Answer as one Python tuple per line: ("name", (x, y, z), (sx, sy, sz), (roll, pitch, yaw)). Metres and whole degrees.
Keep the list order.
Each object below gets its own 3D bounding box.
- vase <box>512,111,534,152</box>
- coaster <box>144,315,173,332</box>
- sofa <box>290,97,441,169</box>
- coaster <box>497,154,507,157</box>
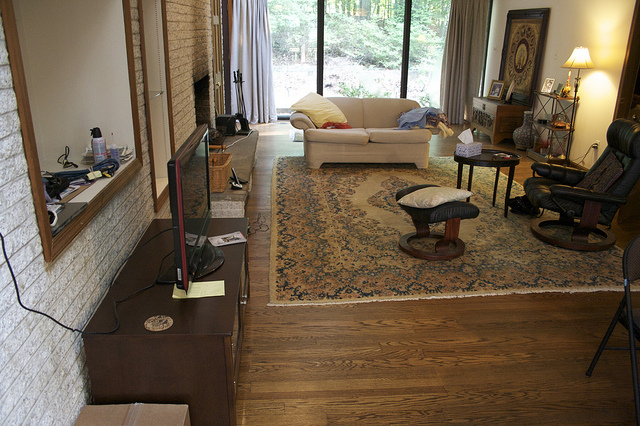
("vase", (3.476, -1.215, 7.459), (0.390, 0.544, 0.349), (5, 23, 17))
("coaster", (-0.912, 0.563, 2.468), (0.138, 0.017, 0.121), (14, 27, 32))
("sofa", (0.560, -1.082, 6.905), (2.034, 0.795, 1.110), (-3, 25, -3))
("coaster", (2.113, -0.576, 5.186), (0.046, 0.009, 0.041), (9, 18, 24))
